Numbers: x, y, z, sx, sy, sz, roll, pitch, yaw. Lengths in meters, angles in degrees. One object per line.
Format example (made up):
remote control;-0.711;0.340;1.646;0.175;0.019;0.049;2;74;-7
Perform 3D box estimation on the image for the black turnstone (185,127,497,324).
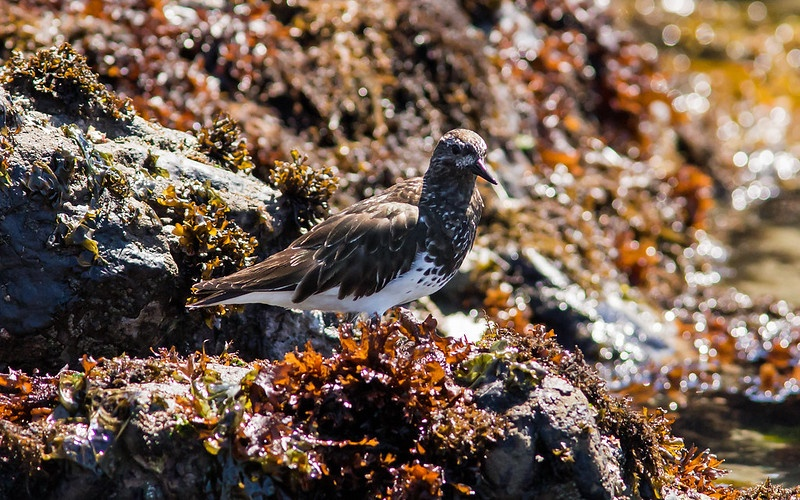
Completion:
black turnstone;-0.612;0.022;11.470;3.981;1.328;2.372;-5;-80;23
